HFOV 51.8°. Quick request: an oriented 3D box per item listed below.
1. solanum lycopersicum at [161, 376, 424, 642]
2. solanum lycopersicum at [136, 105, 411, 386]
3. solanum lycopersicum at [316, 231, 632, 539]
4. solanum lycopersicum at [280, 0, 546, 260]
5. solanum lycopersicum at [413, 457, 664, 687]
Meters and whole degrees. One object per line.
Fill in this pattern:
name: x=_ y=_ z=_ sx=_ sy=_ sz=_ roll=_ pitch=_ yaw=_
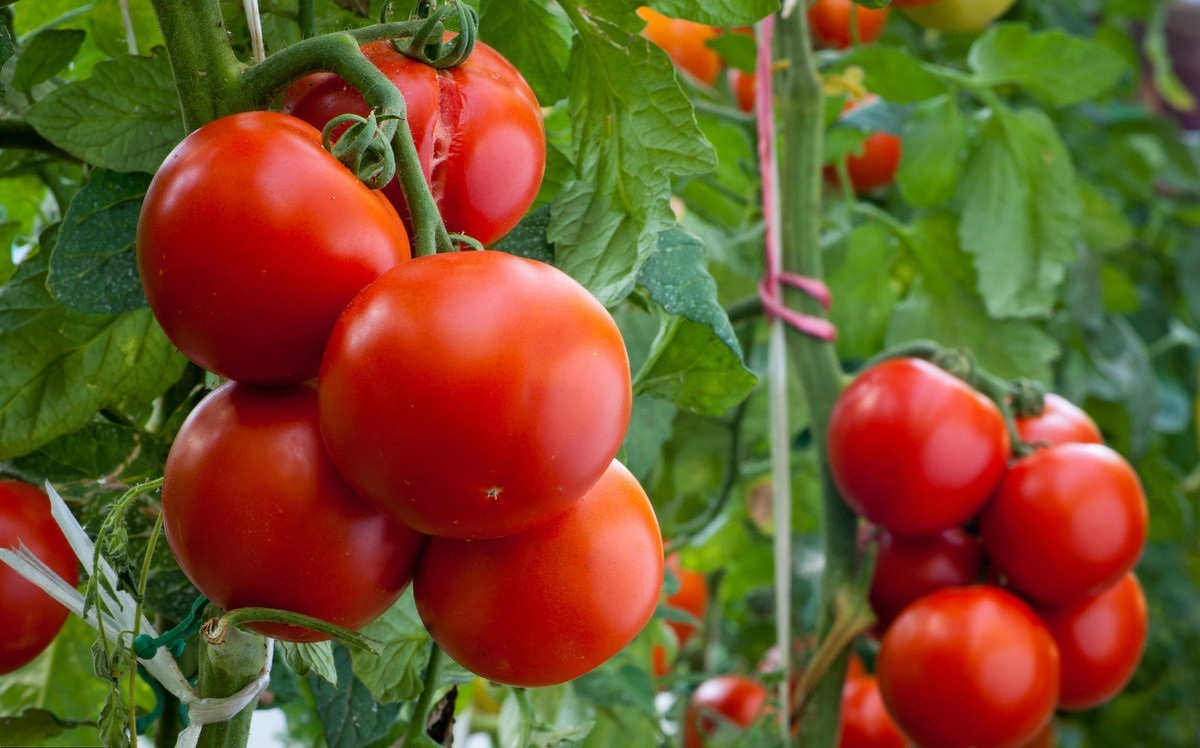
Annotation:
solanum lycopersicum: x=-0.175 y=0.066 z=0.656 sx=0.106 sy=0.112 sz=0.110 roll=-2 pitch=6 yaw=33
solanum lycopersicum: x=-0.175 y=-0.057 z=0.655 sx=0.119 sy=0.129 sz=0.123 roll=-4 pitch=11 yaw=-42
solanum lycopersicum: x=-0.064 y=-0.002 z=0.652 sx=0.151 sy=0.136 sz=0.145 roll=22 pitch=20 yaw=20
solanum lycopersicum: x=-0.103 y=-0.135 z=0.727 sx=0.124 sy=0.130 sz=0.131 roll=16 pitch=48 yaw=-15
solanum lycopersicum: x=-0.035 y=0.093 z=0.687 sx=0.115 sy=0.115 sz=0.118 roll=5 pitch=1 yaw=33
